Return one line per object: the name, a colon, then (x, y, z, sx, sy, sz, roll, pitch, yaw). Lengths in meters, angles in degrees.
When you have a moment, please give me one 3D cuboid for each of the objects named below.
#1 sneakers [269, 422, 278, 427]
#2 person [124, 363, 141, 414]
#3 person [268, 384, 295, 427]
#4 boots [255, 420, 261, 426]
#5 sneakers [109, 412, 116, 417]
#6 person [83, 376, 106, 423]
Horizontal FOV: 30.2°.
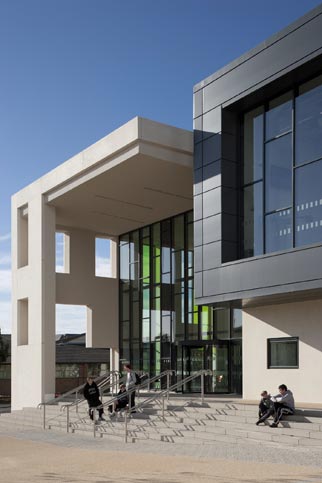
sneakers: (2.379, 3.898, 12.614, 0.144, 0.071, 0.082, -1, -4, -19)
person: (-0.818, 4.134, 16.714, 0.388, 1.255, 0.420, 2, -5, -13)
person: (2.601, 3.581, 12.952, 0.663, 0.858, 0.538, 1, -11, -11)
boots: (2.102, 3.987, 13.035, 0.063, 0.110, 0.138, 4, -13, -25)
sneakers: (-1.370, 4.860, 16.689, 0.153, 0.112, 0.360, 0, -12, -8)
person: (-1.933, 4.535, 17.105, 0.433, 1.326, 0.345, -7, 13, 2)
